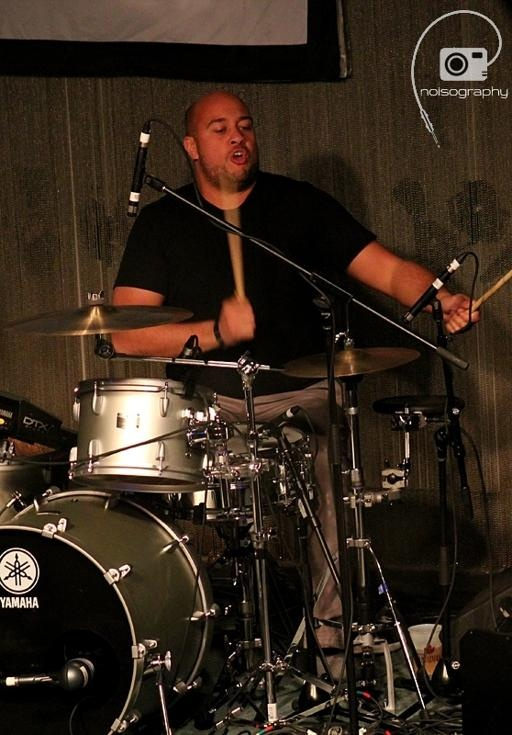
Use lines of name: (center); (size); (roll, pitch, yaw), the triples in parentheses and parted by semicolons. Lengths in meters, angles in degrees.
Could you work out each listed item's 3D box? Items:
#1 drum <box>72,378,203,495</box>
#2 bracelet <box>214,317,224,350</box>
drum: (-0.262, 0.182, 2.052); (0.328, 0.207, 0.320); (1, -13, 0)
bracelet: (-0.098, -0.099, 2.123); (0.019, 0.057, 0.063); (-11, -32, 6)
